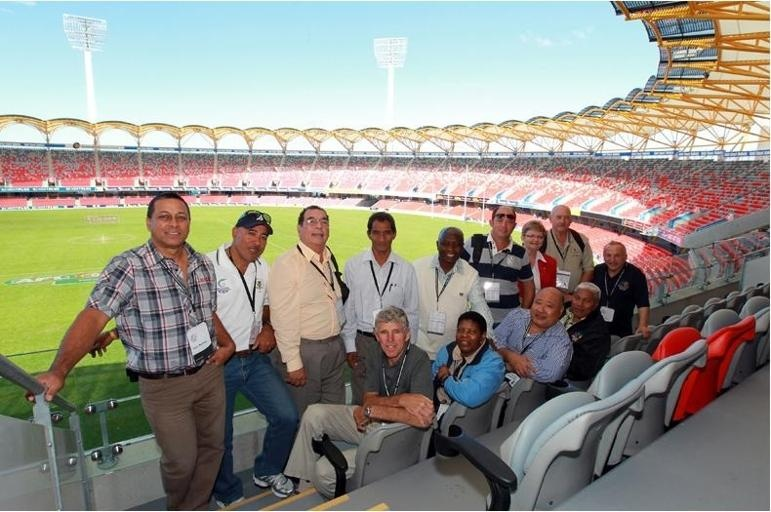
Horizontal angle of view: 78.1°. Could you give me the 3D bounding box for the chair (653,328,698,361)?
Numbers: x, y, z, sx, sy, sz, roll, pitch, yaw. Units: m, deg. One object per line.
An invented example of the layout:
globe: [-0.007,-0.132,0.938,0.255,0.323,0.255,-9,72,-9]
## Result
chair: [2.798,0.866,4.619,0.425,0.119,0.165,-10,9,-33]

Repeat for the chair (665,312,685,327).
chair: [3.602,0.810,6.019,0.213,0.202,0.203,0,3,-12]

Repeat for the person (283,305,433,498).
person: [-0.208,1.547,4.602,1.478,1.951,0.961,4,-6,-29]

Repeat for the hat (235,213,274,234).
hat: [-1.345,-0.350,4.894,0.289,0.153,0.378,7,-2,-32]

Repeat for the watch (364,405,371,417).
watch: [-0.178,1.471,4.504,0.068,0.080,0.028,-6,-15,27]

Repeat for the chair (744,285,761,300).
chair: [5.283,0.525,6.913,0.105,0.158,0.175,10,27,40]

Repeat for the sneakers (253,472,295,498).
sneakers: [-1.171,2.350,4.960,0.443,0.160,0.196,2,-1,23]

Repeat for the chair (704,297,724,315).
chair: [4.354,0.673,6.365,0.123,0.136,0.131,8,12,12]

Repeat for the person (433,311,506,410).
person: [0.833,1.076,4.813,0.557,0.916,0.749,28,-29,-22]

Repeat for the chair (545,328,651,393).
chair: [2.306,1.250,5.320,0.862,0.920,0.816,-7,8,-34]
